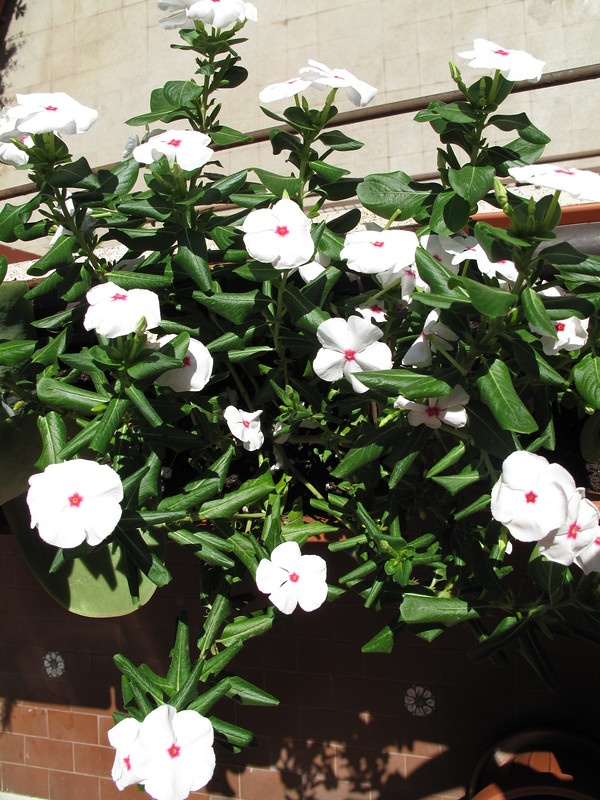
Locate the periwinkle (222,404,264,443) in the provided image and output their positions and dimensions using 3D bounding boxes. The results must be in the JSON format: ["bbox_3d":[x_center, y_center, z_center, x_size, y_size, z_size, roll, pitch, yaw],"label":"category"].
[{"bbox_3d":[-0.139,0.062,1.913,0.074,0.118,0.112,-5,21,3],"label":"periwinkle"}]

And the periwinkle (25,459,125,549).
[{"bbox_3d":[-0.443,0.212,1.525,0.179,0.162,0.105,-11,22,-13],"label":"periwinkle"}]

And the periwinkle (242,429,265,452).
[{"bbox_3d":[-0.118,0.102,1.928,0.058,0.049,0.015,10,-9,-43],"label":"periwinkle"}]

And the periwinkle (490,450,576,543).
[{"bbox_3d":[0.447,0.186,1.480,0.144,0.152,0.109,4,24,24],"label":"periwinkle"}]
